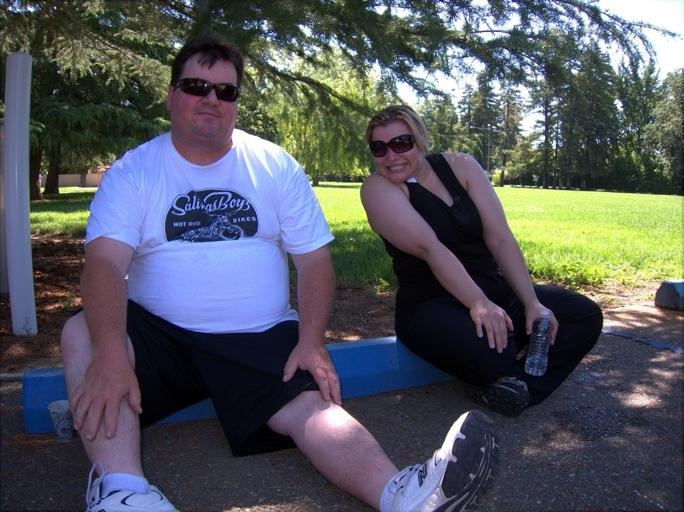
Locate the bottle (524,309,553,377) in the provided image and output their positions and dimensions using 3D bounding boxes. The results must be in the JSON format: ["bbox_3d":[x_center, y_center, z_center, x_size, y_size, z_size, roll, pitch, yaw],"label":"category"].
[{"bbox_3d":[1.144,0.520,3.270,0.225,0.358,0.112,-3,11,-15],"label":"bottle"}]

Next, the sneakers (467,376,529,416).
[{"bbox_3d":[0.841,0.776,3.194,0.397,0.147,0.178,8,47,26],"label":"sneakers"}]
